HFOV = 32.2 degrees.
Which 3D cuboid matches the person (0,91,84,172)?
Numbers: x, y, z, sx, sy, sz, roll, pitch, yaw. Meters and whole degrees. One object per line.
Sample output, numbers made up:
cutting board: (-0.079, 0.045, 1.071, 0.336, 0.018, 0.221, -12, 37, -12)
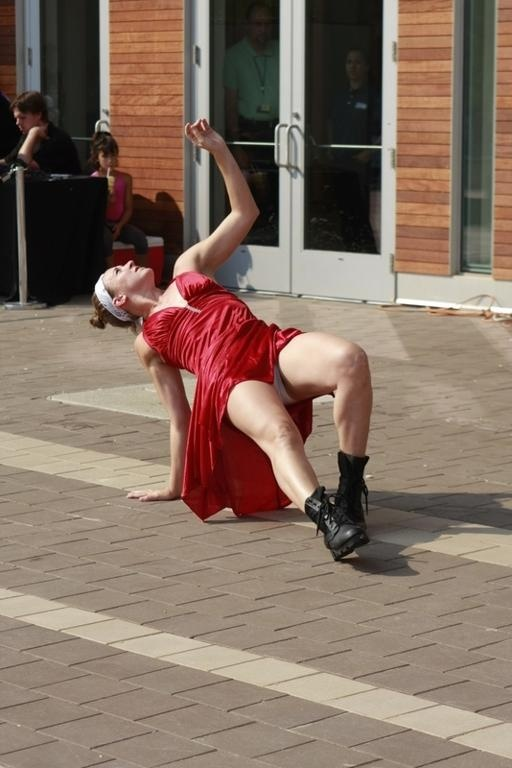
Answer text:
person: (-2.402, -2.749, 9.746, 0.720, 0.941, 0.890, 1, 6, 18)
